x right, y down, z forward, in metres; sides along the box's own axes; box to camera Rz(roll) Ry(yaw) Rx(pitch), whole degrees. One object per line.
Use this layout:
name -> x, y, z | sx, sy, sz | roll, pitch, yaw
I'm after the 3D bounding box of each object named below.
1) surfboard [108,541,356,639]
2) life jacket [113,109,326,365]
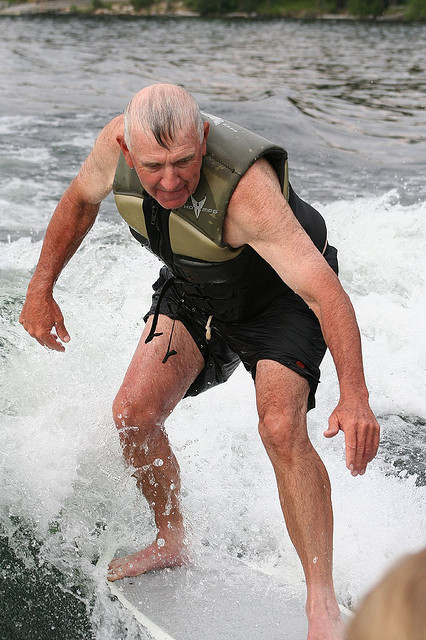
surfboard -> -0.022, 1.008, 2.482 | 0.729, 0.088, 0.502 | -3, 27, -5
life jacket -> -0.081, -0.311, 2.568 | 0.646, 0.870, 0.415 | 23, 38, 35
